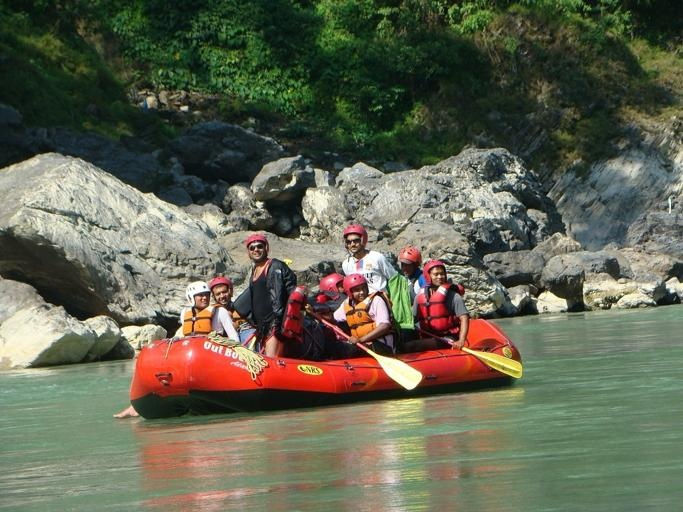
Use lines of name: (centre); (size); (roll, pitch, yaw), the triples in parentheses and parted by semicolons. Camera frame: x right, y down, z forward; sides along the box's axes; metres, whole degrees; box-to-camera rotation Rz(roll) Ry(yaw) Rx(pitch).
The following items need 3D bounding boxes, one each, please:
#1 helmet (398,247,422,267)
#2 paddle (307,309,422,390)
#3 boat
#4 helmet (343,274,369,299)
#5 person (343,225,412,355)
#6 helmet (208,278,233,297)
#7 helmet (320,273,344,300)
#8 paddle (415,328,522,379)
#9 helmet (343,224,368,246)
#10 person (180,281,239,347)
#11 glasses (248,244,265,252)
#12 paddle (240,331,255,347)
helmet: (1.204, 0.022, 16.804); (0.263, 0.184, 0.390); (3, -9, 44)
paddle: (0.283, 1.541, 15.460); (2.078, 0.284, 0.112); (33, -27, 12)
boat: (-0.247, 1.913, 15.237); (4.190, 0.761, 2.106); (0, -4, -29)
helmet: (0.136, 0.477, 15.466); (0.299, 0.280, 0.403); (-4, -14, -46)
person: (0.641, 0.648, 16.363); (1.075, 2.399, 0.874); (-5, 18, 12)
helmet: (-1.922, 0.496, 15.600); (0.289, 0.268, 0.368); (-4, 7, 5)
helmet: (-0.171, 0.516, 16.408); (0.448, 0.361, 0.341); (-21, 9, 6)
paddle: (2.009, 1.647, 16.006); (1.813, 0.280, 0.094); (22, -37, -2)
helmet: (0.250, -0.345, 16.332); (0.330, 0.298, 0.419); (2, 10, 37)
person: (-2.076, 0.962, 15.483); (0.808, 0.779, 0.454); (-21, -37, 19)
glasses: (-1.305, -0.122, 15.086); (0.268, 0.127, 0.097); (-4, 10, -6)
paddle: (-1.506, 1.350, 15.576); (0.176, 0.269, 0.069); (-14, -39, 28)
